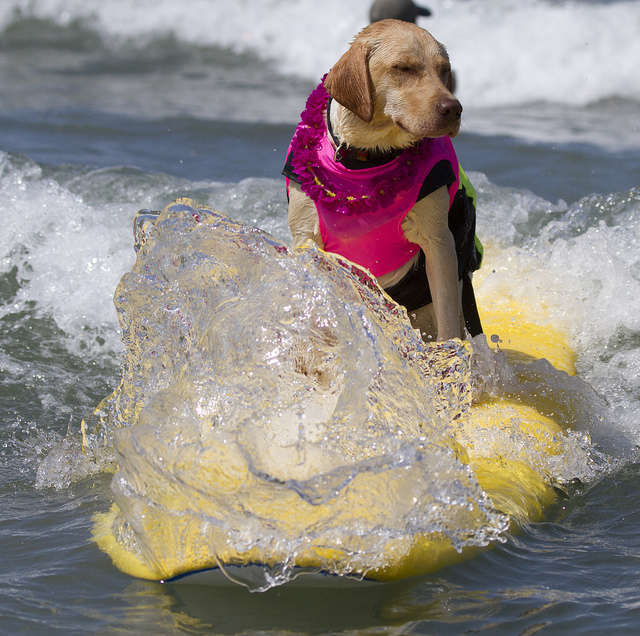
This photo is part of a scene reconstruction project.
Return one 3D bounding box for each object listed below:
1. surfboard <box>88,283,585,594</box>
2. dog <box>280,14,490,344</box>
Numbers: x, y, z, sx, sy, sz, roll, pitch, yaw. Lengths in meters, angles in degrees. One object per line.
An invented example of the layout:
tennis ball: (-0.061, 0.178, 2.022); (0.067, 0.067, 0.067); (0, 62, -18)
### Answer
surfboard: (-0.012, 0.454, 6.780); (1.848, 0.719, 2.388); (0, 17, 18)
dog: (0.287, -0.573, 7.016); (0.905, 1.624, 0.564); (-5, 27, 3)
